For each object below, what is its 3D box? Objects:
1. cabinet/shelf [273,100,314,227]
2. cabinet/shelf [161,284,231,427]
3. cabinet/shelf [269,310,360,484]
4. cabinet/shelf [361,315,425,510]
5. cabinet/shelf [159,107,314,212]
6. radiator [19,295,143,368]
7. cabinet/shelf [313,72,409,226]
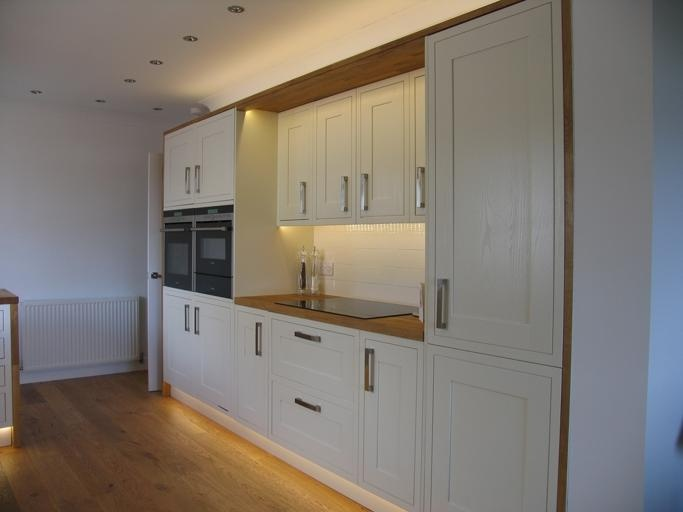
[{"bbox_3d":[-0.345,-0.681,3.943,0.118,0.911,0.453,-8,14,-38],"label":"cabinet/shelf"},{"bbox_3d":[-1.176,0.822,4.605,1.117,0.972,0.409,5,6,40],"label":"cabinet/shelf"},{"bbox_3d":[-0.052,0.896,3.557,0.836,1.006,0.563,8,11,41],"label":"cabinet/shelf"},{"bbox_3d":[0.277,0.905,2.829,0.146,0.938,0.532,-5,9,-33],"label":"cabinet/shelf"},{"bbox_3d":[-1.153,-0.768,4.606,0.481,0.866,1.357,1,1,-43],"label":"cabinet/shelf"},{"bbox_3d":[-2.832,0.798,5.386,0.884,0.613,0.155,1,0,-34],"label":"radiator"},{"bbox_3d":[0.210,-0.666,3.524,0.907,0.878,0.347,3,5,39],"label":"cabinet/shelf"}]
